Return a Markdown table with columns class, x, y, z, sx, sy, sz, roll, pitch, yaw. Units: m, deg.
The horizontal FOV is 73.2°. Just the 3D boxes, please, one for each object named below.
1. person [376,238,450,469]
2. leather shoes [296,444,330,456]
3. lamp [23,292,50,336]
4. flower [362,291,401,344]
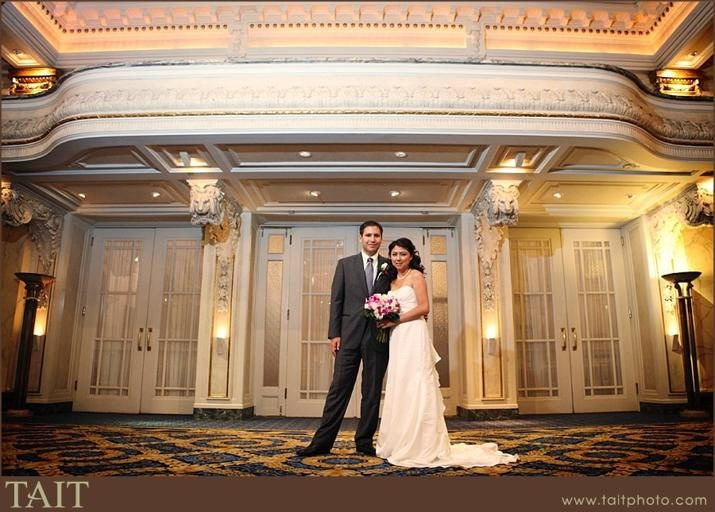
| class | x | y | z | sx | sy | sz | roll | pitch | yaw |
| --- | --- | --- | --- | --- | --- | --- | --- | --- | --- |
| person | 0.527 | 0.919 | 4.796 | 0.629 | 2.168 | 0.350 | -1 | -16 | 3 |
| leather shoes | -0.453 | 1.958 | 4.846 | 0.340 | 0.123 | 0.181 | 1 | -15 | -3 |
| lamp | -5.528 | 1.023 | 8.378 | 0.180 | 0.743 | 0.268 | 6 | -17 | -20 |
| flower | 0.236 | 0.592 | 4.724 | 0.488 | 0.512 | 0.470 | 2 | -11 | -9 |
